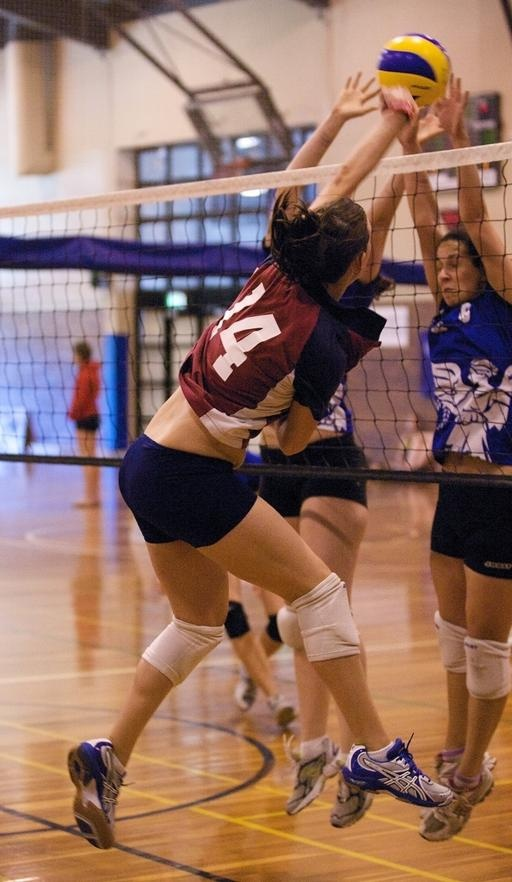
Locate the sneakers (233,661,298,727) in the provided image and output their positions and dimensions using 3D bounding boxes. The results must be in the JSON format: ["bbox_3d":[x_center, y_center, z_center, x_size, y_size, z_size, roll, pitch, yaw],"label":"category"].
[{"bbox_3d":[0.009,1.051,3.304,0.119,0.153,0.342,-11,38,-31],"label":"sneakers"}]

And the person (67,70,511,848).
[{"bbox_3d":[0.020,0.023,1.740,0.769,1.793,0.581,-1,-2,18],"label":"person"}]
